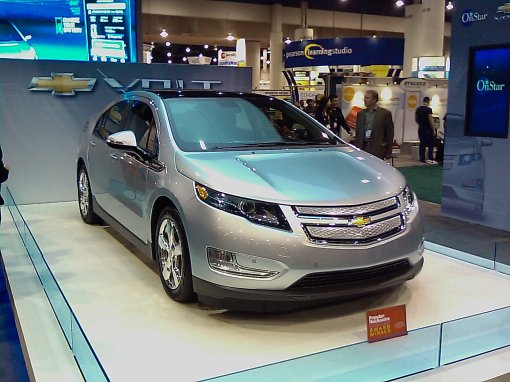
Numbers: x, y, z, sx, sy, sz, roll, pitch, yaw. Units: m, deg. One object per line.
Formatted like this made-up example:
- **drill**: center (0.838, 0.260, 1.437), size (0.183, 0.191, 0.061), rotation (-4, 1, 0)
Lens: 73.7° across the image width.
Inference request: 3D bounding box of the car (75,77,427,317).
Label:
- **car**: center (-0.368, -0.053, 3.267), size (1.882, 1.115, 2.963), rotation (-4, 11, -30)

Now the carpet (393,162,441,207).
- **carpet**: center (3.464, -0.159, 7.098), size (0.794, 0.270, 1.201), rotation (-1, 19, -6)
